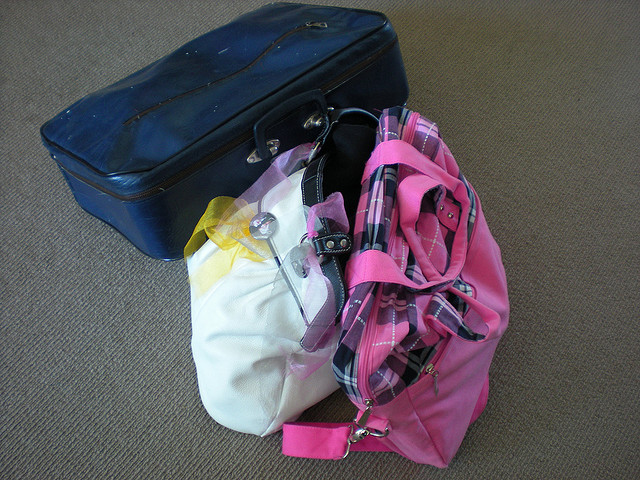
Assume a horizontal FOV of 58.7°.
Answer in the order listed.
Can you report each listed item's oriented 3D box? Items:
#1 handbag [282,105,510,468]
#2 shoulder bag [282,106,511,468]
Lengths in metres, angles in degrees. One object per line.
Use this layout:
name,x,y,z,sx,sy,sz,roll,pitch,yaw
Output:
handbag,0.154,0.208,1.604,0.593,0.734,1.039,3,65,12
shoulder bag,0.197,0.120,1.366,0.450,0.579,0.802,9,57,18
